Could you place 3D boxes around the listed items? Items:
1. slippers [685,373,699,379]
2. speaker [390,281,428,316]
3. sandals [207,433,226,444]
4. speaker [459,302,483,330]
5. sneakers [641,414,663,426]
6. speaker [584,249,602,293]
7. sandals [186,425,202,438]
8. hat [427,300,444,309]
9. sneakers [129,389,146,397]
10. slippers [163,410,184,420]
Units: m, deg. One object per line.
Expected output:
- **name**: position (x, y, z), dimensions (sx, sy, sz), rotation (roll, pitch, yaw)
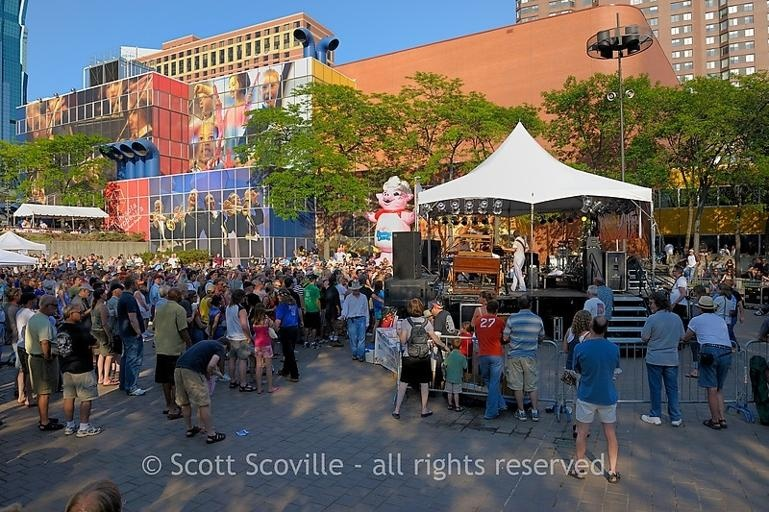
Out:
- **slippers**: position (11.583, 4.518, 29.271), dimensions (0.155, 0.181, 0.455), rotation (1, -1, -36)
- **speaker**: position (0.936, 1.972, 32.233), dimensions (1.949, 1.291, 1.051), rotation (1, 3, 9)
- **sandals**: position (-5.755, 6.192, 26.451), dimensions (0.599, 0.272, 0.281), rotation (-3, 7, -28)
- **speaker**: position (3.401, 2.397, 30.927), dimensions (0.929, 1.606, 0.925), rotation (0, 0, 9)
- **sneakers**: position (9.226, 5.698, 27.034), dimensions (0.300, 0.227, 0.550), rotation (-1, 4, -43)
- **speaker**: position (8.994, 0.473, 33.804), dimensions (1.010, 1.430, 0.348), rotation (1, 3, -2)
- **sandals**: position (-6.578, 6.043, 26.750), dimensions (0.239, 0.239, 0.567), rotation (1, 2, 20)
- **hat**: position (1.951, 1.797, 28.710), dimensions (0.474, 0.226, 0.336), rotation (-6, -2, -23)
- **sneakers**: position (-9.162, 5.048, 28.699), dimensions (0.453, 0.187, 0.243), rotation (-3, 0, 27)
- **slippers**: position (-7.432, 5.611, 27.434), dimensions (0.589, 0.244, 0.266), rotation (0, 0, -10)
